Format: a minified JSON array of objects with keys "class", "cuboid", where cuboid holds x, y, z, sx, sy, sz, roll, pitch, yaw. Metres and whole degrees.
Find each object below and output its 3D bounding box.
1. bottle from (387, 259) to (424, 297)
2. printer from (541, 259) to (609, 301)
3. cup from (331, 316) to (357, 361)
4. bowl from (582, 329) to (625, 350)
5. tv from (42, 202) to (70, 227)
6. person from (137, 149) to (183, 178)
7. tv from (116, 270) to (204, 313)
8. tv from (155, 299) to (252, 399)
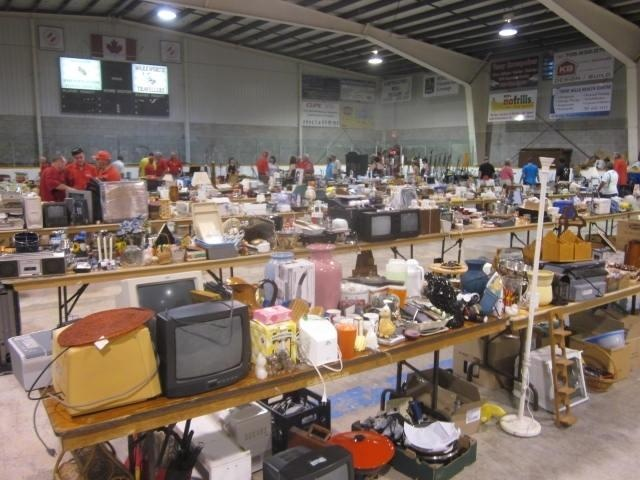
[{"class":"bottle","cuboid":[0.678,0.288,3.669,0.306,0.323,0.222,0,6,-7]},{"class":"printer","cuboid":[2.223,0.357,4.115,0.384,0.194,0.385,-5,6,-28]},{"class":"cup","cuboid":[0.141,0.628,3.094,0.178,0.278,0.199,-2,8,1]},{"class":"bowl","cuboid":[2.853,0.948,4.785,0.238,0.151,0.233,-3,1,0]},{"class":"tv","cuboid":[-3.120,-0.284,5.668,0.182,0.255,0.335,-2,3,-29]},{"class":"person","cuboid":[-4.053,-1.899,12.378,0.948,0.570,1.478,-12,18,-43]},{"class":"tv","cuboid":[-1.060,0.334,3.165,0.418,0.319,0.293,-2,2,-31]},{"class":"tv","cuboid":[-0.658,0.591,2.792,0.597,0.555,0.423,-5,4,-31]}]
